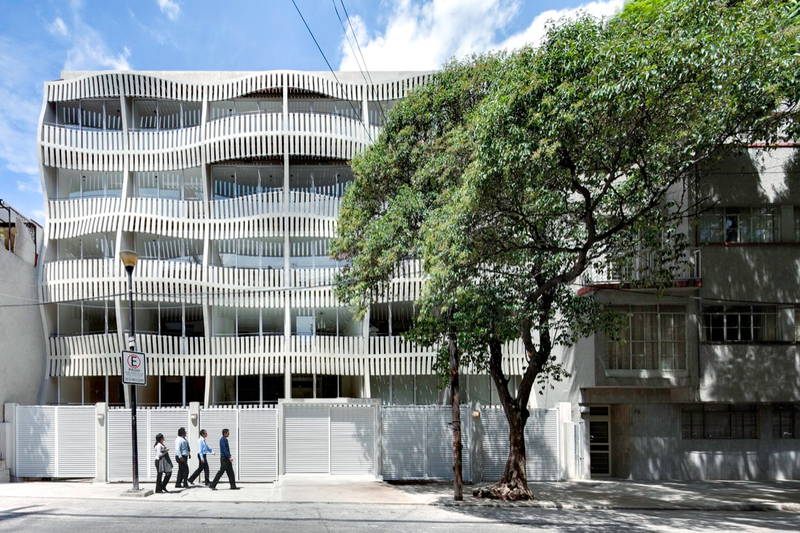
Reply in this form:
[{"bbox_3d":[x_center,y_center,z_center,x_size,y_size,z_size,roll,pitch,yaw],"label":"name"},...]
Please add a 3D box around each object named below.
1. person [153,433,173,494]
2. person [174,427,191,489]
[{"bbox_3d":[-9.354,7.770,41.691,0.625,2.323,1.077,1,-10,-14],"label":"person"},{"bbox_3d":[-8.673,7.629,42.152,0.492,2.355,1.019,1,-10,-15],"label":"person"}]
